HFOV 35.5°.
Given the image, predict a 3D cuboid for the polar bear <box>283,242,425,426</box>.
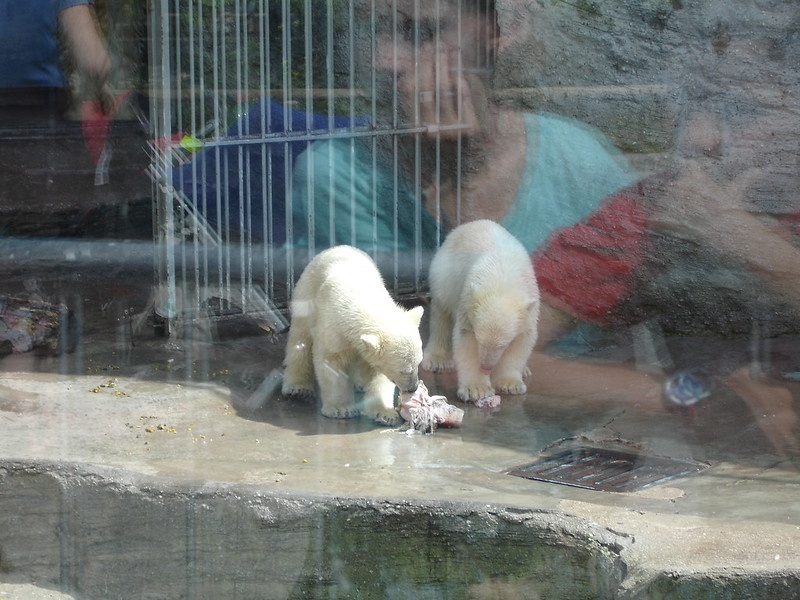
[{"bbox_3d":[-0.295,0.226,7.725,0.514,0.932,0.942,-5,21,-32],"label":"polar bear"}]
